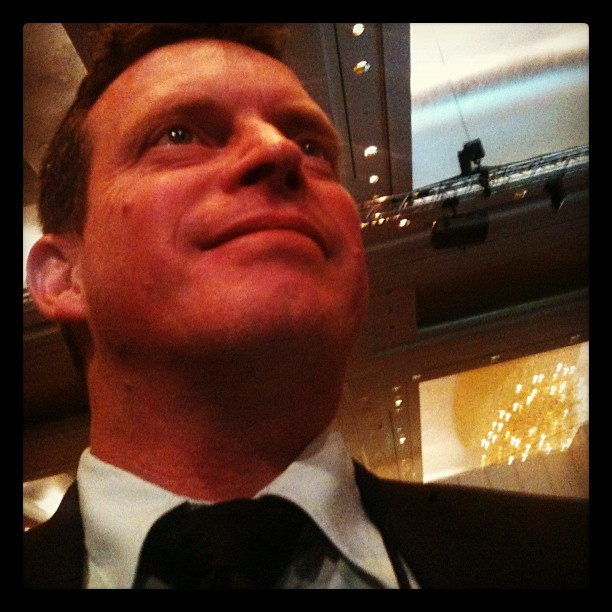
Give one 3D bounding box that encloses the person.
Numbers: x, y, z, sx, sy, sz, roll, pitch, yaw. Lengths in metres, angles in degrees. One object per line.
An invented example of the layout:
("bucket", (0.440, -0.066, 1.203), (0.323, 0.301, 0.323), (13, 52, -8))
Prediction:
("person", (-0.073, 0.060, 2.524), (1.842, 0.917, 1.527), (0, 62, -13))
